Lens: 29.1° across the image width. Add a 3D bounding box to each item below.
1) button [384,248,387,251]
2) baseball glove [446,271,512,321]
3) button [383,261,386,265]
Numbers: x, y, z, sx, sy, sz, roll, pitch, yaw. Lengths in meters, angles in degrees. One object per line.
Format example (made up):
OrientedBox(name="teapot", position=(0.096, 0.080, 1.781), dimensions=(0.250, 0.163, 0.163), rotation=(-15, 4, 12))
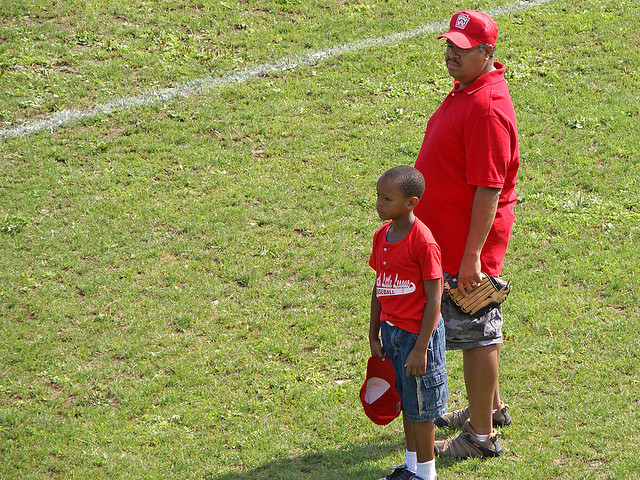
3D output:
OrientedBox(name="button", position=(0.900, 0.115, 17.012), dimensions=(0.041, 0.038, 0.022), rotation=(9, 24, 17))
OrientedBox(name="baseball glove", position=(2.229, 0.763, 17.228), dimensions=(0.768, 0.572, 0.322), rotation=(-26, -10, 0))
OrientedBox(name="button", position=(0.885, 0.303, 17.018), dimensions=(0.043, 0.043, 0.011), rotation=(-4, 2, 13))
